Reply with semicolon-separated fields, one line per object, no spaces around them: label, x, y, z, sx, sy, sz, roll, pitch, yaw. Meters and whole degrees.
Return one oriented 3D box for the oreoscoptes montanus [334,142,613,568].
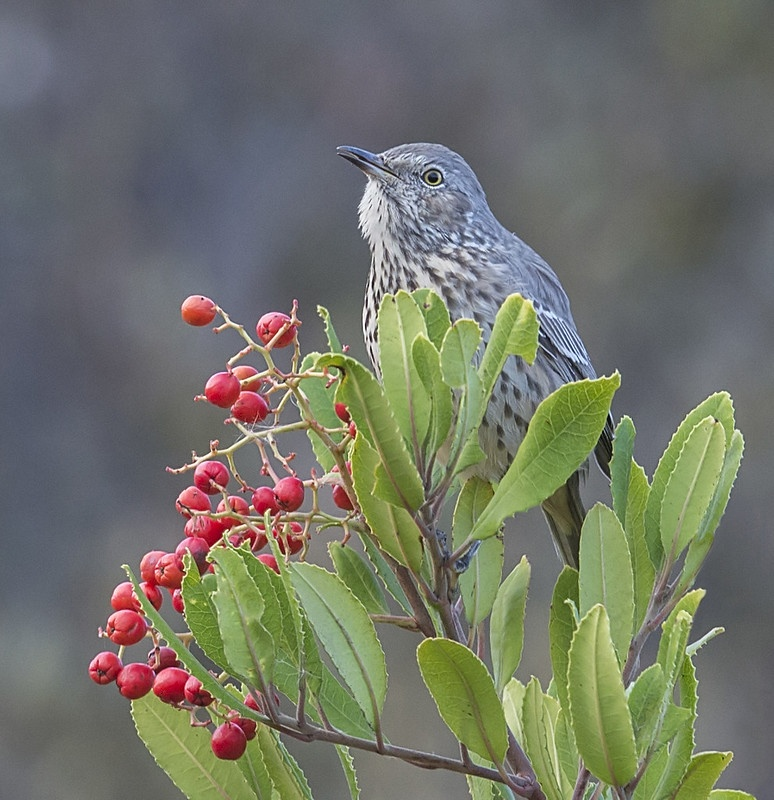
oreoscoptes montanus;0.155;-0.178;2.633;0.584;0.657;0.251;11;-30;-40
